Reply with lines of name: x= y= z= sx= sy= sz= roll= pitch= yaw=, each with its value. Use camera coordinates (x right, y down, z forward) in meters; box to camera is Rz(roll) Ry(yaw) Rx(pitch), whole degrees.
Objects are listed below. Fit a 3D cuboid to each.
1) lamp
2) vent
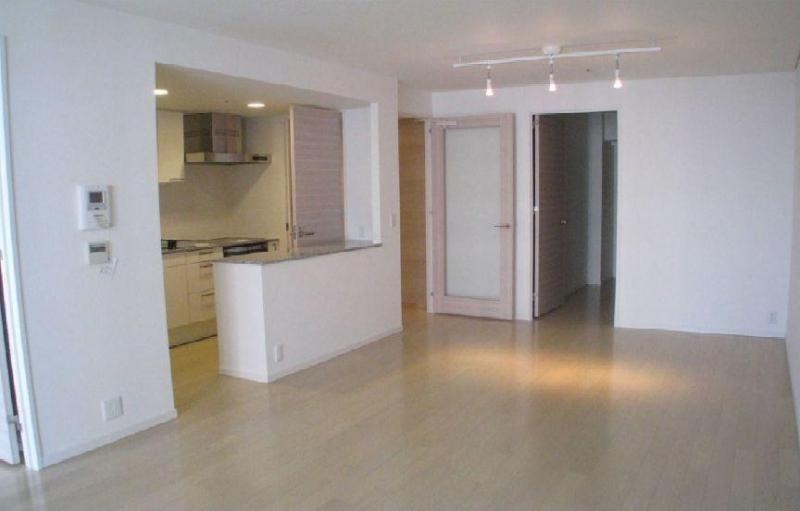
lamp: x=1.648 y=-2.004 z=5.993 sx=2.171 sy=0.484 sz=0.198 roll=-2 pitch=22 yaw=10
vent: x=-2.655 y=-1.724 z=8.109 sx=1.043 sy=0.591 sz=1.078 roll=14 pitch=16 yaw=39
